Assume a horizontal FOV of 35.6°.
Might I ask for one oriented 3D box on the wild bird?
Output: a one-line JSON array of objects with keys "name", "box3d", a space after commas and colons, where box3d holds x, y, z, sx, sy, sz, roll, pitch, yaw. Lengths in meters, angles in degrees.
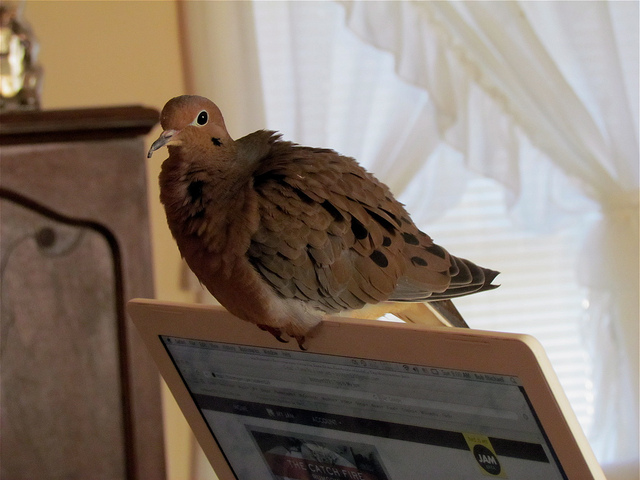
[{"name": "wild bird", "box3d": [-0.108, -0.056, 2.368, 0.893, 0.513, 0.422, -2, -2, -14]}]
